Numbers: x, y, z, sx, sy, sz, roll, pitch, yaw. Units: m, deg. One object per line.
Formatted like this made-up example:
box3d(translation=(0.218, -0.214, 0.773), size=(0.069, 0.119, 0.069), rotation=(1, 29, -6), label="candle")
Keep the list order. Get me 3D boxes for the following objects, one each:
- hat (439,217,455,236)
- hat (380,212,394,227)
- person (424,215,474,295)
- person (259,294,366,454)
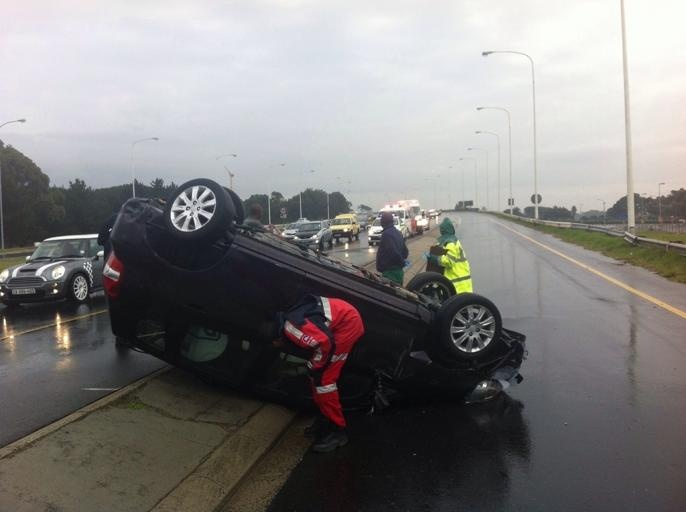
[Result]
box3d(translation=(1.857, -0.529, 8.371), size=(0.266, 0.385, 0.366), rotation=(2, 25, 22), label="hat")
box3d(translation=(0.842, -0.709, 9.068), size=(0.194, 0.305, 0.279), rotation=(0, 4, -9), label="hat")
box3d(translation=(1.944, 0.140, 8.354), size=(0.653, 1.655, 0.715), rotation=(-7, 22, 14), label="person")
box3d(translation=(-0.240, 1.214, 4.875), size=(0.891, 1.621, 0.587), rotation=(-4, 6, -23), label="person")
